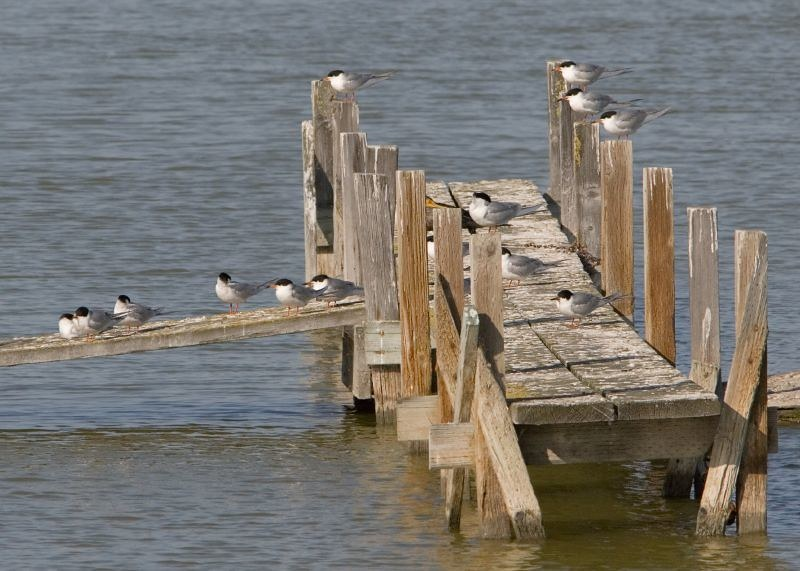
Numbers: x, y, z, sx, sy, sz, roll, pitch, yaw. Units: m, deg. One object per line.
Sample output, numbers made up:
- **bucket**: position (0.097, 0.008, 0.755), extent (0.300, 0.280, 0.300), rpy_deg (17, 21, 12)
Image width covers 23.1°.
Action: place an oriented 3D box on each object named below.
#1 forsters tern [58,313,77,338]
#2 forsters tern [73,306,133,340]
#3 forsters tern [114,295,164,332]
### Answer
- **forsters tern**: position (-5.482, 0.681, 31.459), extent (0.321, 0.397, 0.322), rpy_deg (-7, -21, 18)
- **forsters tern**: position (-5.047, 0.584, 31.516), extent (0.497, 0.417, 0.850), rpy_deg (0, 8, 29)
- **forsters tern**: position (-4.435, 0.430, 32.138), extent (0.939, 0.489, 0.508), rpy_deg (-4, 15, -35)
